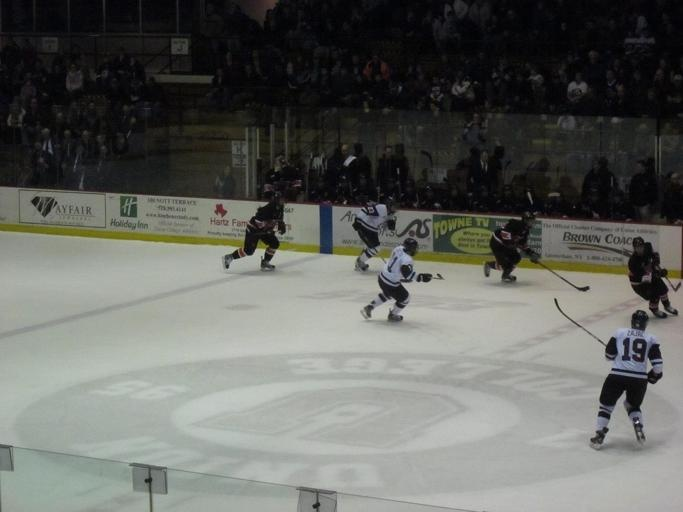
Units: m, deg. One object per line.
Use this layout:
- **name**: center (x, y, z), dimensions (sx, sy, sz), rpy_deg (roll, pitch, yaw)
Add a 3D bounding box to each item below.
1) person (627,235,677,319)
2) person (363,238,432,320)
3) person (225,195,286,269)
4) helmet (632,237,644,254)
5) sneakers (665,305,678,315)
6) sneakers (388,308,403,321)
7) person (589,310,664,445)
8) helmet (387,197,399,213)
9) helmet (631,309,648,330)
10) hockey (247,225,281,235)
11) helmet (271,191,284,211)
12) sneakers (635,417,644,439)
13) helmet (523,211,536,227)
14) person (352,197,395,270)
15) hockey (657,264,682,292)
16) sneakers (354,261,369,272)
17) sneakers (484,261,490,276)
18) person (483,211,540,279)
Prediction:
- **person**: center (5.591, 0.372, 13.618), dimensions (0.910, 1.490, 0.579), rpy_deg (-8, 16, -25)
- **person**: center (0.927, 0.459, 13.381), dimensions (0.956, 1.572, 1.033), rpy_deg (-5, 15, -15)
- **person**: center (-1.906, -0.549, 17.090), dimensions (1.231, 1.780, 0.547), rpy_deg (-2, 14, -5)
- **helmet**: center (5.250, -0.202, 13.457), dimensions (0.191, 0.292, 0.322), rpy_deg (5, 15, 20)
- **sneakers**: center (5.956, 0.961, 13.839), dimensions (0.238, 0.089, 0.134), rpy_deg (25, 26, 36)
- **sneakers**: center (0.965, 1.069, 13.746), dimensions (0.267, 0.184, 0.140), rpy_deg (0, 7, 2)
- **person**: center (3.388, 1.468, 9.022), dimensions (0.654, 1.540, 0.783), rpy_deg (7, 16, 28)
- **helmet**: center (1.106, -1.091, 16.592), dimensions (0.215, 0.330, 0.307), rpy_deg (2, 14, 10)
- **helmet**: center (3.541, 0.773, 9.081), dimensions (0.187, 0.215, 0.230), rpy_deg (13, 18, 19)
- **hockey**: center (-1.811, -0.595, 17.091), dimensions (0.432, 0.147, 0.328), rpy_deg (1, 0, 29)
- **helmet**: center (-1.405, -1.232, 16.859), dimensions (0.278, 0.388, 0.343), rpy_deg (-2, 14, -7)
- **sneakers**: center (3.474, 2.017, 8.903), dimensions (0.091, 0.275, 0.122), rpy_deg (-7, 17, 20)
- **helmet**: center (3.929, -0.790, 15.760), dimensions (0.308, 0.303, 0.251), rpy_deg (-24, 17, -32)
- **person**: center (0.716, -0.471, 17.232), dimensions (0.854, 1.667, 0.732), rpy_deg (14, 35, -2)
- **hockey**: center (6.371, 0.408, 14.829), dimensions (0.520, 0.175, 0.284), rpy_deg (39, 4, 2)
- **sneakers**: center (0.427, 0.200, 17.231), dimensions (0.324, 0.233, 0.174), rpy_deg (-1, 11, -10)
- **sneakers**: center (3.148, 0.254, 16.522), dimensions (0.139, 0.318, 0.113), rpy_deg (1, 9, 34)
- **person**: center (3.674, -0.188, 16.249), dimensions (1.119, 1.614, 0.730), rpy_deg (11, 15, 23)
